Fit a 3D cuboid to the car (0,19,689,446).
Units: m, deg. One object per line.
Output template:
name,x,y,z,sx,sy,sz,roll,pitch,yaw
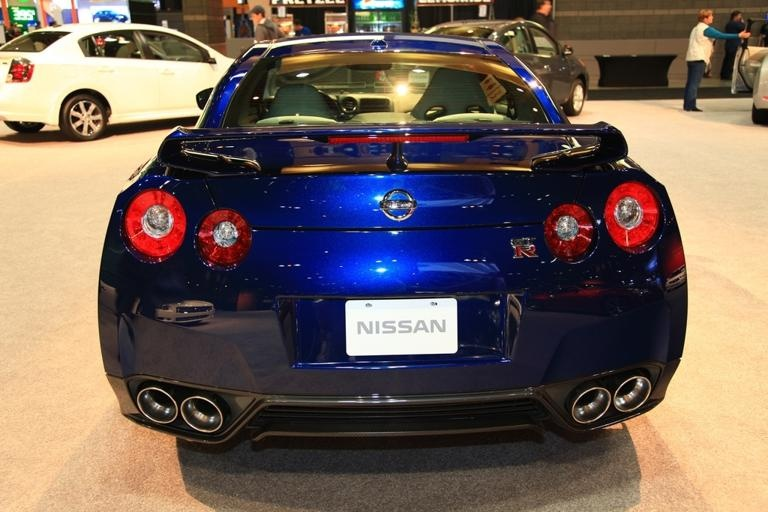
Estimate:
car,-0.001,-0.542,3.394,2.381,1.169,3.375,0,14,-3
